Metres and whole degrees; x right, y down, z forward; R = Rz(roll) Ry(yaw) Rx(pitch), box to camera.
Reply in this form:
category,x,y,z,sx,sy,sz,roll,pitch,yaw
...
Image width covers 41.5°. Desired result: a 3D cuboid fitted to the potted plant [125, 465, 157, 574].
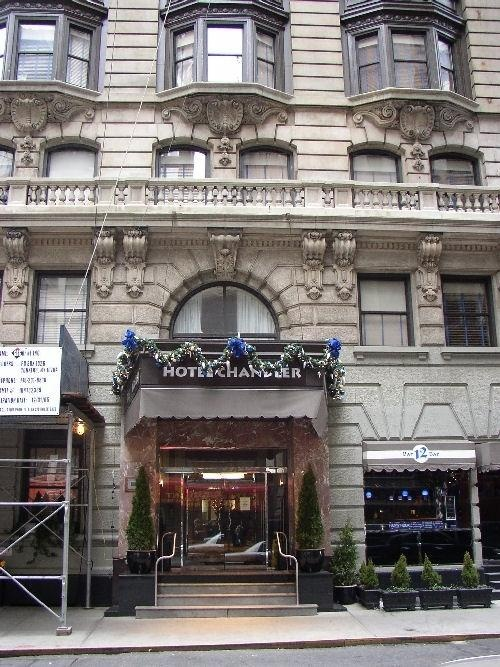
category,x,y,z,sx,sy,sz,roll,pitch,yaw
potted plant,-2.157,3.718,13.285,0.603,2.068,0.494,7,-20,-25

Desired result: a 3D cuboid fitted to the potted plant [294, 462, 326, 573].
category,x,y,z,sx,sy,sz,roll,pitch,yaw
potted plant,1.176,3.706,13.219,0.544,1.976,0.459,-2,-18,3
